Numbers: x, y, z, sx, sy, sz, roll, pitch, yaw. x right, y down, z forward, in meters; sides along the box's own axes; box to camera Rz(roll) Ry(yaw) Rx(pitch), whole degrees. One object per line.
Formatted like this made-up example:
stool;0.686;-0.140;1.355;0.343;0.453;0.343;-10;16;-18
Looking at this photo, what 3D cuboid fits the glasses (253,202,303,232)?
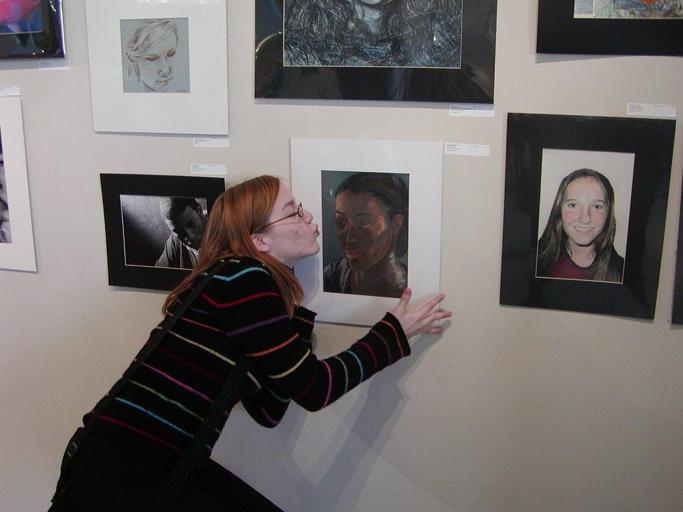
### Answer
glasses;-0.187;-0.116;1.574;0.099;0.031;0.099;-33;20;5
